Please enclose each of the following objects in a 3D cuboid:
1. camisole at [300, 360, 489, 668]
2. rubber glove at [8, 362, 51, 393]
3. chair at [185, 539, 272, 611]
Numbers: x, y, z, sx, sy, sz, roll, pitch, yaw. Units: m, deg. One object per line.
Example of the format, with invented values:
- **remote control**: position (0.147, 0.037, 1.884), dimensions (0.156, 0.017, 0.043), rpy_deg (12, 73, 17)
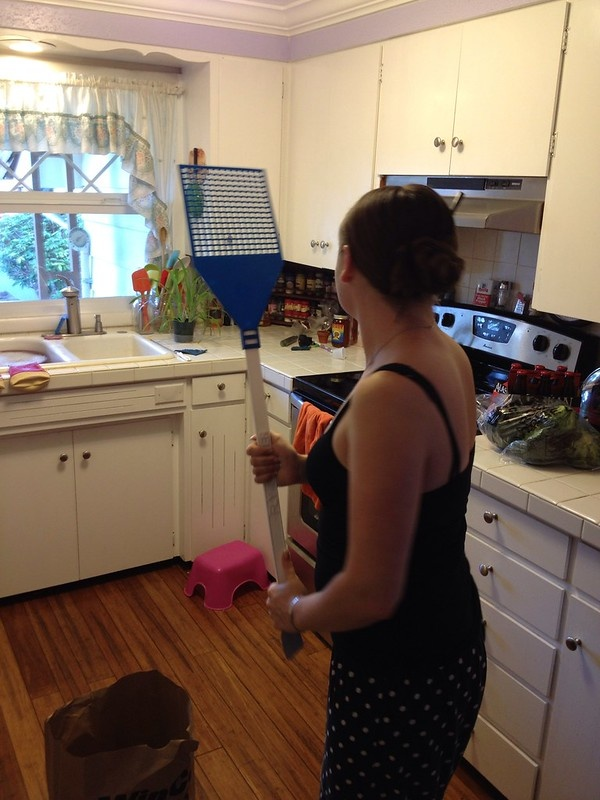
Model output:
- **camisole**: position (0.134, 0.117, 0.857), dimensions (0.317, 0.484, 0.328), rpy_deg (0, 10, -1)
- **rubber glove**: position (-0.988, -0.074, 2.079), dimensions (0.134, 0.075, 0.107), rpy_deg (-3, 14, -28)
- **chair**: position (-0.307, 0.731, 2.439), dimensions (0.291, 0.139, 0.242), rpy_deg (-16, 30, -41)
